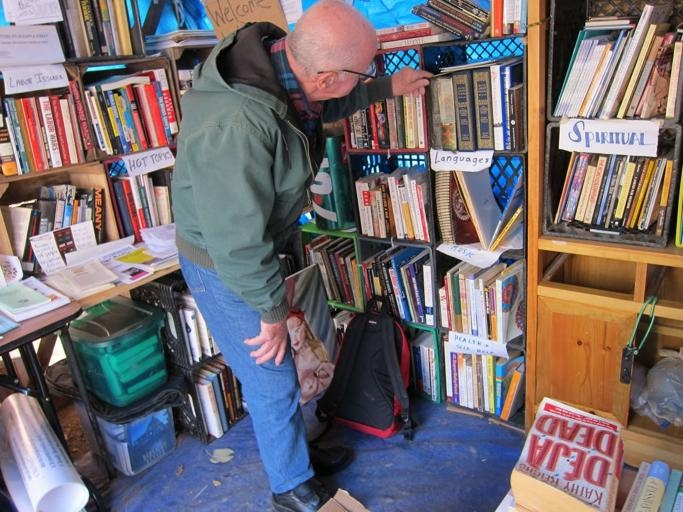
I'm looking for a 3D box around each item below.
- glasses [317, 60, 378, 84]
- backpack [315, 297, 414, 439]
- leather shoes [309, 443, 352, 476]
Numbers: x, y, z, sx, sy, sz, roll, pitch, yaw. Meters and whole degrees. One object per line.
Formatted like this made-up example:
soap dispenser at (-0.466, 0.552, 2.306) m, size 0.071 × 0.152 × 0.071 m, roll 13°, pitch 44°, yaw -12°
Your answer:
glasses at (0.012, -0.690, 1.907) m, size 0.249 × 0.076 × 0.235 m, roll -7°, pitch 31°, yaw -15°
backpack at (0.150, 0.604, 2.719) m, size 0.592 × 0.674 × 0.212 m, roll 8°, pitch 0°, yaw 29°
leather shoes at (-0.052, 1.027, 2.584) m, size 0.097 × 0.102 × 0.245 m, roll 7°, pitch 19°, yaw 29°
